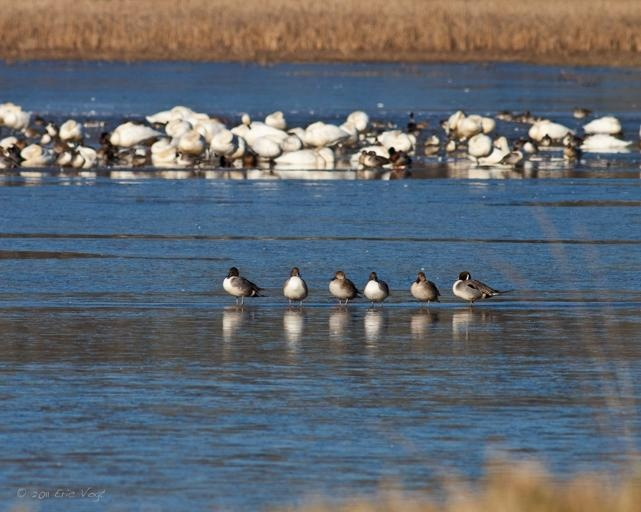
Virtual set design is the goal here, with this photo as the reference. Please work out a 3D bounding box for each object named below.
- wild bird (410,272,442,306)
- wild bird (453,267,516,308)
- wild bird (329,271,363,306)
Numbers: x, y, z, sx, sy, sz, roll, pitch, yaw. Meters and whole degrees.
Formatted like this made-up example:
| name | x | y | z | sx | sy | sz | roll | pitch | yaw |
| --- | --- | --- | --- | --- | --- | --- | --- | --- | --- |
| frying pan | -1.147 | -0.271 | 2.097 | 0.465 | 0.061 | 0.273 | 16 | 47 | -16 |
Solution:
| name | x | y | z | sx | sy | sz | roll | pitch | yaw |
| --- | --- | --- | --- | --- | --- | --- | --- | --- | --- |
| wild bird | 1.231 | 0.419 | 18.036 | 0.290 | 0.433 | 0.808 | -1 | 10 | 6 |
| wild bird | 1.866 | 0.404 | 18.276 | 0.570 | 0.471 | 1.016 | -1 | 10 | 4 |
| wild bird | 0.261 | 0.403 | 17.958 | 0.289 | 0.327 | 0.481 | -8 | -12 | 23 |
